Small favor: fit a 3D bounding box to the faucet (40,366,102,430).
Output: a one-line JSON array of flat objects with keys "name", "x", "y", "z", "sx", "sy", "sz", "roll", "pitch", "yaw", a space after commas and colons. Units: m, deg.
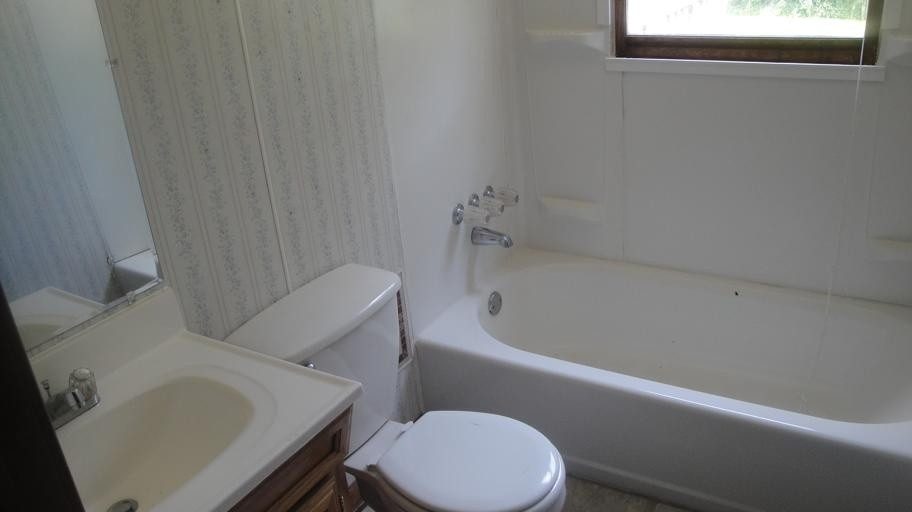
[{"name": "faucet", "x": -1.070, "y": 0.394, "z": 1.533, "sx": 0.106, "sy": 0.139, "sz": 0.145, "roll": 45, "pitch": 50, "yaw": 14}]
